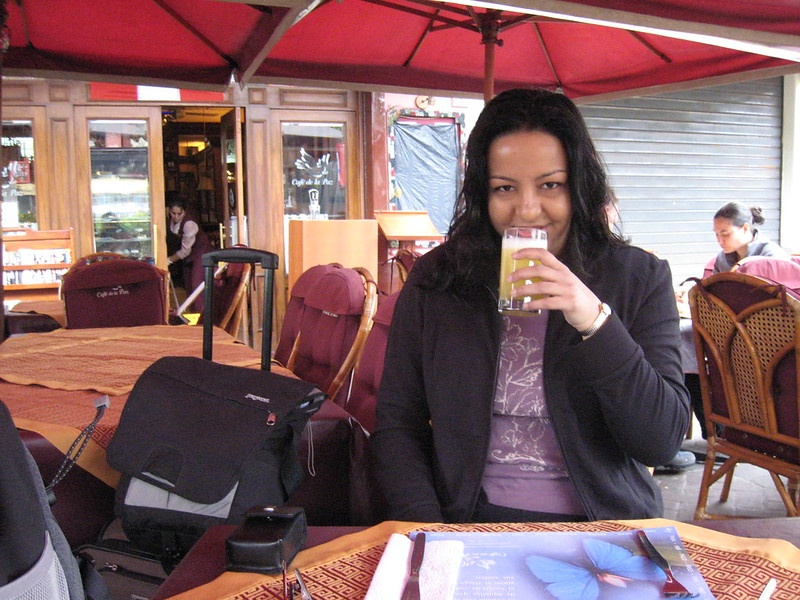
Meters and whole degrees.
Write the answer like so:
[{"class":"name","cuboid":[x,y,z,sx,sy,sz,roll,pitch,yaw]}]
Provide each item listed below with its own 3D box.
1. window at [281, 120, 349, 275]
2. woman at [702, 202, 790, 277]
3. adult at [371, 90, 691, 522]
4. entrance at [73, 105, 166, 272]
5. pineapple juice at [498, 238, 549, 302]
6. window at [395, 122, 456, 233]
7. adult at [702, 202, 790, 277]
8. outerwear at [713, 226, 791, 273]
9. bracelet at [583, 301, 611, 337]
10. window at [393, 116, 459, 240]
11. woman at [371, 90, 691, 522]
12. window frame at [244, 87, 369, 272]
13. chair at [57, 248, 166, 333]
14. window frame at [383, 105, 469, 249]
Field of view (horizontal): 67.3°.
[{"class":"window","cuboid":[-0.979,-1.268,6.968,0.858,1.820,0.082,-2,-14,-2]},{"class":"woman","cuboid":[2.870,-0.469,4.914,0.551,0.621,0.675,-14,9,-35]},{"class":"adult","cuboid":[0.312,0.123,1.569,0.789,1.227,0.714,0,6,17]},{"class":"entrance","cuboid":[-3.188,-1.254,6.834,0.800,1.804,0.085,-5,-13,-13]},{"class":"pineapple juice","cuboid":[0.284,-0.067,1.380,0.099,0.190,0.109,-1,9,2]},{"class":"window","cuboid":[0.314,-1.503,7.172,0.790,1.383,0.100,-2,44,0]},{"class":"adult","cuboid":[2.868,-0.464,4.904,0.547,0.613,0.690,-12,7,-30]},{"class":"outerwear","cuboid":[2.963,-0.433,4.952,0.612,0.445,0.319,3,13,-20]},{"class":"bracelet","cuboid":[0.443,0.045,1.358,0.035,0.056,0.058,46,9,15]},{"class":"window","cuboid":[0.209,-1.495,7.171,0.751,1.280,0.096,-7,46,-21]},{"class":"woman","cuboid":[0.317,0.119,1.572,0.793,1.223,0.713,0,8,15]},{"class":"window frame","cuboid":[-1.022,-1.335,7.184,1.290,2.298,0.182,-2,31,-9]},{"class":"chair","cuboid":[-1.818,-0.082,3.833,0.472,0.304,0.626,1,11,-1]},{"class":"window frame","cuboid":[0.319,-1.435,7.054,0.851,1.453,0.113,1,-13,-5]}]
